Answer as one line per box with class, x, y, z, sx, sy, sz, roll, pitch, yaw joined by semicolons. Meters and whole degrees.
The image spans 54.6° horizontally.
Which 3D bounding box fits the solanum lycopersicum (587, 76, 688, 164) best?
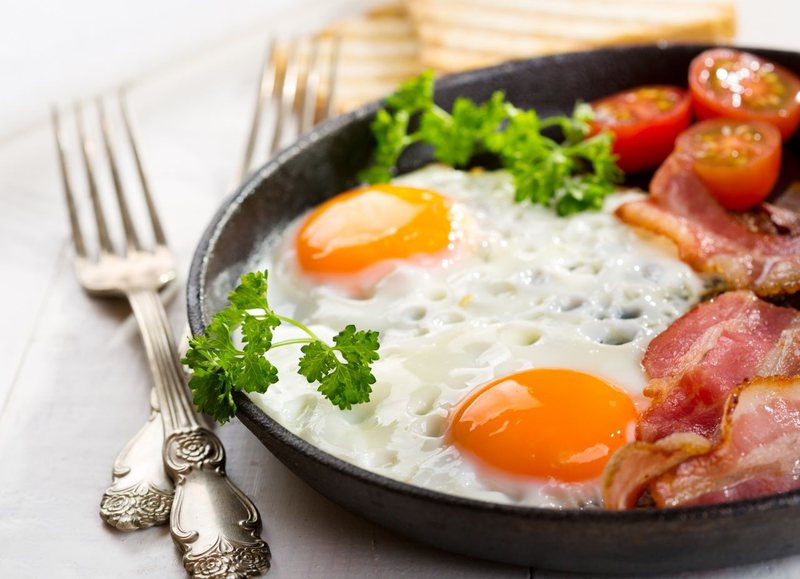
solanum lycopersicum;0.703;-0.513;2.236;0.282;0.141;0.210;-41;31;-26
